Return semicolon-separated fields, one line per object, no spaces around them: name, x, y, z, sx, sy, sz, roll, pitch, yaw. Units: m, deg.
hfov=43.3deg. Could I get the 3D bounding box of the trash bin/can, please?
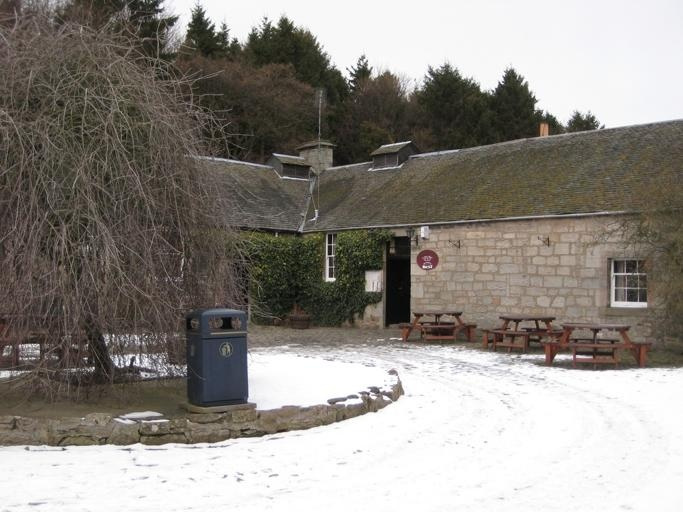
trash bin/can;-1.517;1.210;10.377;0.742;1.126;0.612;1;6;-10
